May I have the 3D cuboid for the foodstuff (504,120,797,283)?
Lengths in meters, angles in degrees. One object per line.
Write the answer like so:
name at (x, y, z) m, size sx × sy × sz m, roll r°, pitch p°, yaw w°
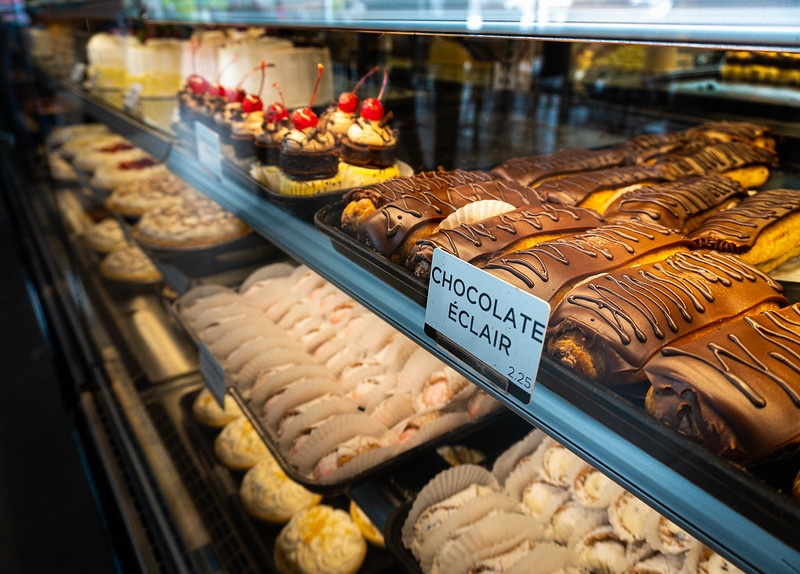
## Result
foodstuff at (0.808, -0.317, 1.553) m, size 0.660 × 0.177 × 0.644 m, roll -22°, pitch 34°, yaw -36°

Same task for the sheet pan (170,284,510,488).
sheet pan at (-0.184, 0.294, 1.570) m, size 0.527 × 0.123 × 0.741 m, roll -15°, pitch 36°, yaw -33°

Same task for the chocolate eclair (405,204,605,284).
chocolate eclair at (0.221, -0.164, 1.075) m, size 0.367 × 0.110 × 0.187 m, roll -19°, pitch 31°, yaw -25°

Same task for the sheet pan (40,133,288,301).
sheet pan at (-1.021, -0.412, 1.961) m, size 0.810 × 0.123 × 0.589 m, roll 35°, pitch 43°, yaw 28°

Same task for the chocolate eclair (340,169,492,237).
chocolate eclair at (0.013, -0.246, 1.308) m, size 0.269 × 0.082 × 0.216 m, roll -21°, pitch 26°, yaw -27°

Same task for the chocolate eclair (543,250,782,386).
chocolate eclair at (0.528, 0.058, 1.038) m, size 0.527 × 0.168 × 0.251 m, roll -16°, pitch 26°, yaw -30°

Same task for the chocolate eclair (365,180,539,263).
chocolate eclair at (0.124, -0.190, 1.216) m, size 0.380 × 0.115 × 0.203 m, roll -22°, pitch 38°, yaw -21°
